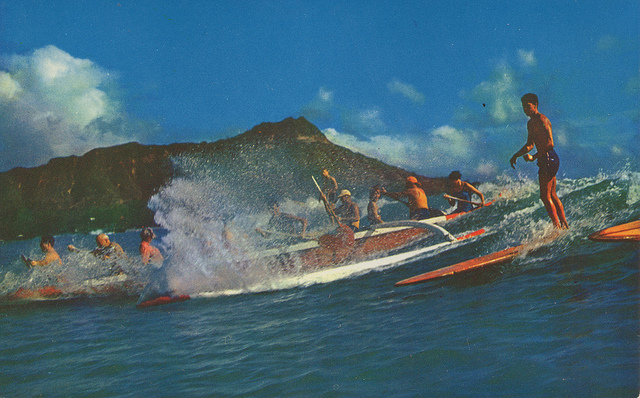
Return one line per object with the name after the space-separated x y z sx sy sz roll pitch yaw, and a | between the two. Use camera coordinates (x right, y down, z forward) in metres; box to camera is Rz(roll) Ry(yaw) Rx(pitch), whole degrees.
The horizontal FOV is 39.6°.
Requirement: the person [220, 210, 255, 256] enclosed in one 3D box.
-2.727 1.146 29.353 1.105 0.259 1.073 25 16 -1 | person

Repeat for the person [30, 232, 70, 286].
-8.338 1.919 27.445 0.912 1.650 0.884 -11 -6 -20 | person

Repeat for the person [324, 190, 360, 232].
0.728 0.348 27.310 0.943 1.016 0.953 -13 -6 2 | person

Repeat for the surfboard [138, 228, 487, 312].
-0.444 2.252 25.929 9.715 0.721 0.724 -12 -6 -6 | surfboard

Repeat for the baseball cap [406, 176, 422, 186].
2.935 -0.581 27.836 0.337 0.265 0.515 -14 -6 8 | baseball cap

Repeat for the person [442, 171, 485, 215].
4.497 -0.259 28.046 1.167 1.143 0.631 -14 -6 6 | person
